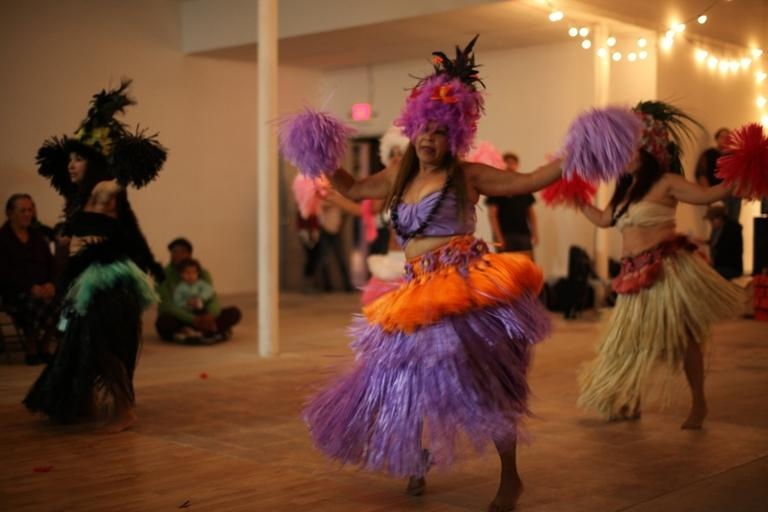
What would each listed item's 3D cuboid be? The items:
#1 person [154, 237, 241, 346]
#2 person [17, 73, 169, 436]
[{"bbox_3d":[-1.778,0.331,6.580,0.704,0.897,0.852,-8,6,-40],"label":"person"},{"bbox_3d":[-1.737,-0.042,4.297,0.805,2.080,0.563,1,6,10],"label":"person"}]
